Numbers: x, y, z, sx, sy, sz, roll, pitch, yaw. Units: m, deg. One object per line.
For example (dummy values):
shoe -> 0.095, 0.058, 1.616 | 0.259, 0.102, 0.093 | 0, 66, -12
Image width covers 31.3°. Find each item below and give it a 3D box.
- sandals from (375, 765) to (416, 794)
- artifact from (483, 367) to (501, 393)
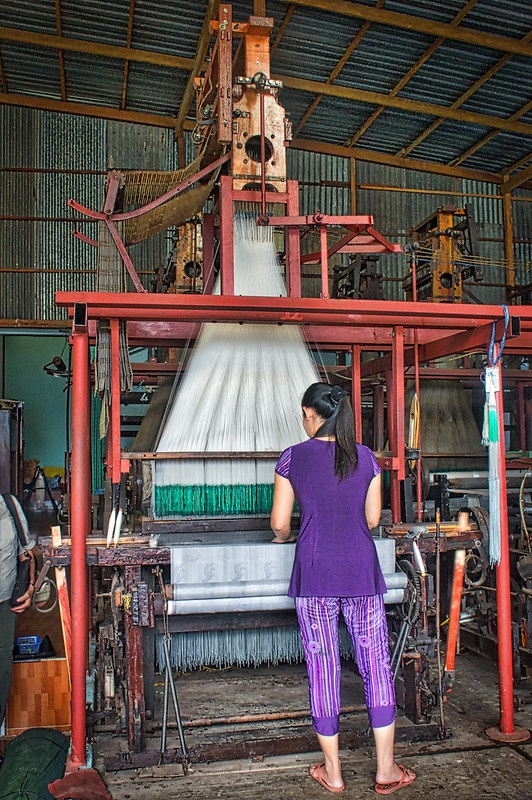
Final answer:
sandals -> 0.532, 1.560, 3.942 | 0.076, 0.066, 0.182 | 0, -1, 45
artifact -> 1.073, -0.099, 4.493 | 0.082, 0.128, 0.064 | -2, -3, 31
